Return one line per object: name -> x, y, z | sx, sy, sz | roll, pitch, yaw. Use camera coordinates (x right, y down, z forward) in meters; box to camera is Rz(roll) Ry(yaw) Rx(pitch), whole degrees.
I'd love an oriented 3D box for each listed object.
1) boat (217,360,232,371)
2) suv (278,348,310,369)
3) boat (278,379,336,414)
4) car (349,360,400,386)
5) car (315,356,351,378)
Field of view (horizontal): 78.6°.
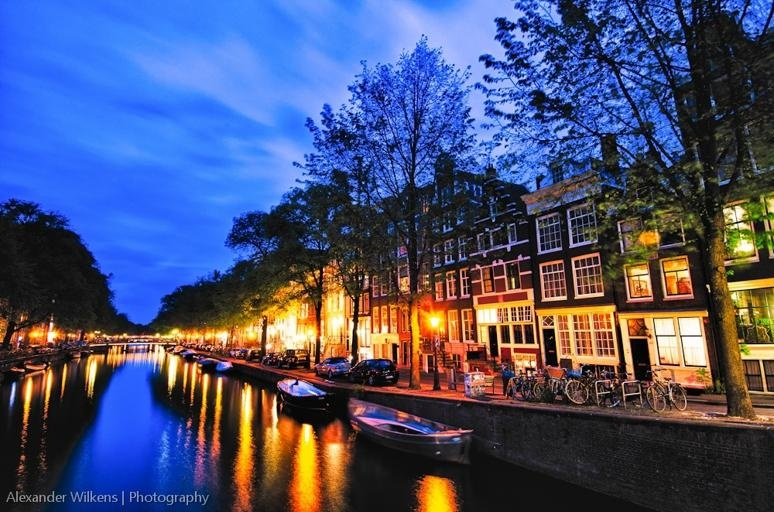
boat -> -20.583, 14.011, 59.445 | 1.270, 1.392, 3.232 | -1, -1, -33
suv -> -10.415, 11.233, 51.500 | 1.851, 1.479, 3.343 | 6, -8, -39
boat -> -6.247, 10.683, 35.597 | 2.214, 2.408, 5.210 | -1, -1, -39
car -> -1.032, 8.800, 35.518 | 1.754, 1.944, 3.868 | -1, -1, -38
car -> -4.715, 10.076, 42.241 | 1.923, 1.820, 3.678 | -1, -1, -35
